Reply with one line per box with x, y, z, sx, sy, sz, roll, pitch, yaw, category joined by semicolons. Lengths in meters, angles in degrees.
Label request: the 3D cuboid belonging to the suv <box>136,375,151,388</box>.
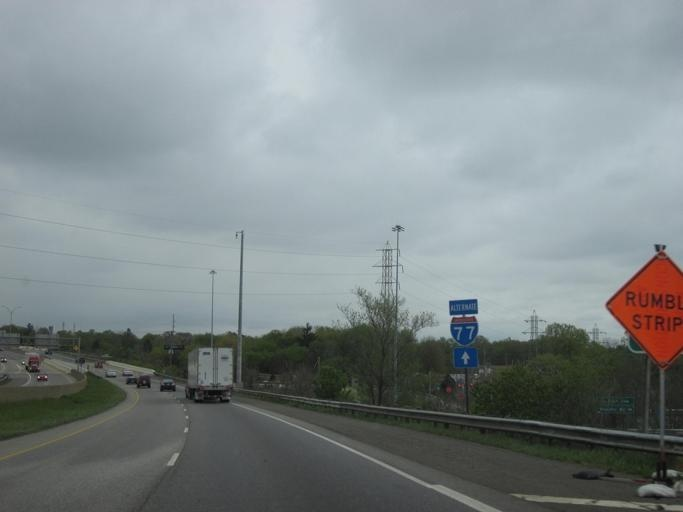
-23.794;14.911;89.433;1.164;1.180;2.265;2;-4;-13;suv

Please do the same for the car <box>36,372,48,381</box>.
-36.025;14.427;89.629;0.978;0.722;1.698;2;-4;-13;car

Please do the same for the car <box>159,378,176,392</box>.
-18.480;13.506;79.032;1.255;1.118;3.162;1;-2;-11;car

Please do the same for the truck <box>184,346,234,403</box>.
-9.716;8.556;54.444;2.315;3.087;5.234;2;-7;-12;truck
